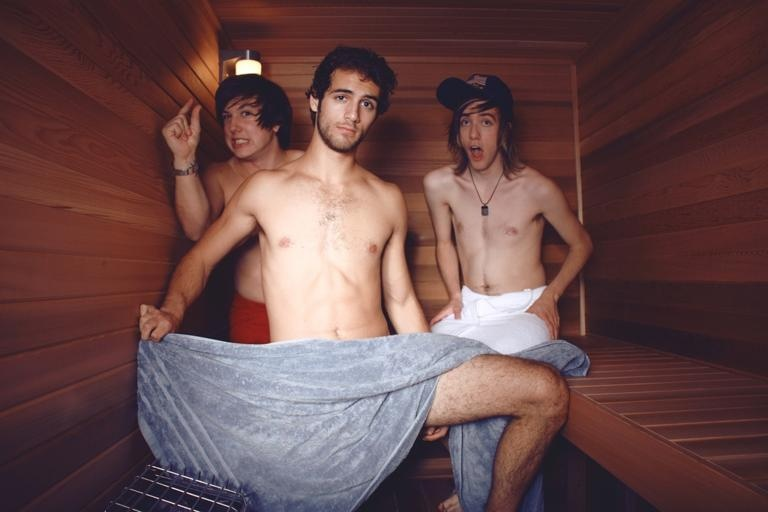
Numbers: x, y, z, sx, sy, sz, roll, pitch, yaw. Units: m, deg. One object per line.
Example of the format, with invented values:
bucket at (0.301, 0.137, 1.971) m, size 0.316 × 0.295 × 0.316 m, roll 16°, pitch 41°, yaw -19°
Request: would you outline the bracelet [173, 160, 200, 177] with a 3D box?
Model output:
bracelet at (-0.945, -0.411, 2.742) m, size 0.082 × 0.035 × 0.087 m, roll -12°, pitch -8°, yaw 27°
